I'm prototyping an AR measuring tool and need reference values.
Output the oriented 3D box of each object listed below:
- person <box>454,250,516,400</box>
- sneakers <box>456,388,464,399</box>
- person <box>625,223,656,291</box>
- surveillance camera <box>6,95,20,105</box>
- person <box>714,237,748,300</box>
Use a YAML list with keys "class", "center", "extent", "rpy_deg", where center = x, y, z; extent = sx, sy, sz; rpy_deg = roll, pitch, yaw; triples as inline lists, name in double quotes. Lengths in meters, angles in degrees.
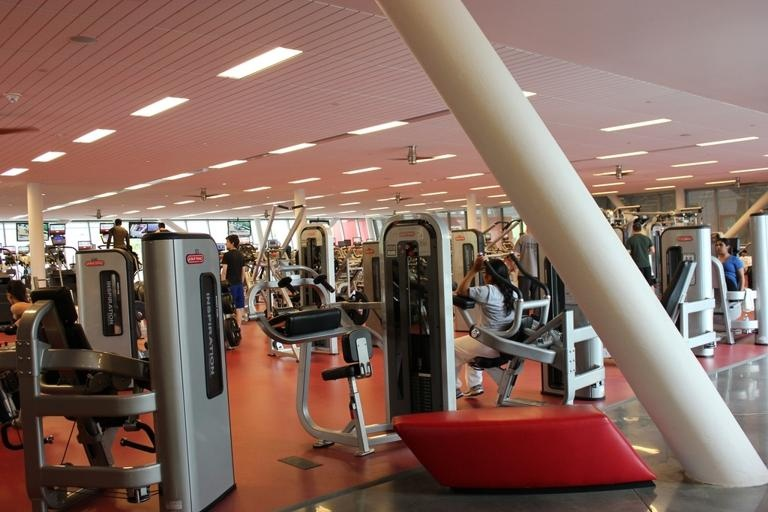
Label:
- class: "person"
  center: [0.983, 0.744, 5.137]
  extent: [0.609, 1.517, 0.965]
  rpy_deg: [-4, 6, 6]
- class: "sneakers"
  center: [0.796, 1.431, 5.495]
  extent: [0.098, 0.126, 0.047]
  rpy_deg: [-10, 32, 4]
- class: "person"
  center: [4.619, -0.061, 9.442]
  extent: [0.462, 1.228, 2.540]
  rpy_deg: [-1, 5, 25]
- class: "surveillance camera"
  center: [-4.748, -2.015, 6.744]
  extent: [0.128, 0.038, 0.110]
  rpy_deg: [-2, -8, 0]
- class: "person"
  center: [5.539, 0.076, 8.390]
  extent: [0.361, 0.688, 2.325]
  rpy_deg: [0, 6, 33]
